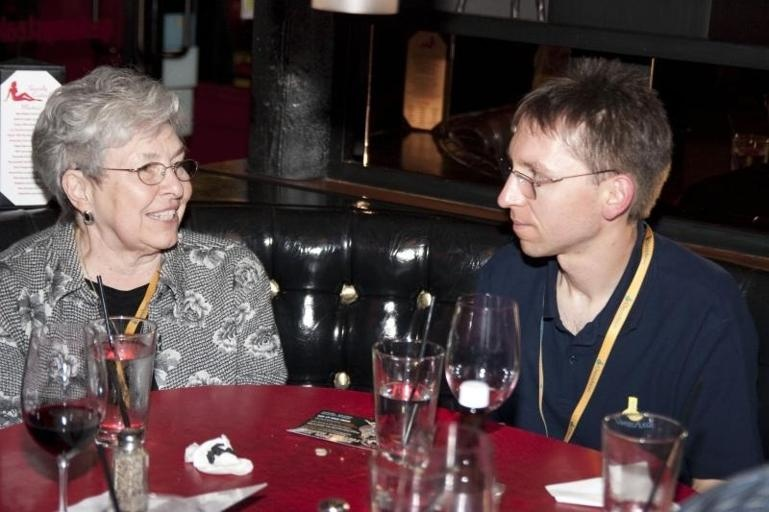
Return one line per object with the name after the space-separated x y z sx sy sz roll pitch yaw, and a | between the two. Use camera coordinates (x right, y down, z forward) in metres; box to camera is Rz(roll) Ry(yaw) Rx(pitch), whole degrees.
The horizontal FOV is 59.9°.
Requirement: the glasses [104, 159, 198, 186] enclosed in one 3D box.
-0.636 -0.232 1.830 0.238 0.073 0.086 1 11 -23 | glasses
